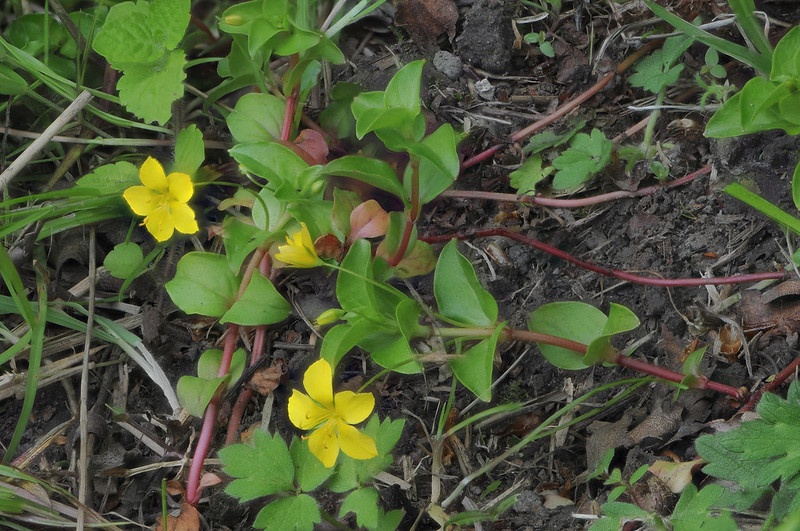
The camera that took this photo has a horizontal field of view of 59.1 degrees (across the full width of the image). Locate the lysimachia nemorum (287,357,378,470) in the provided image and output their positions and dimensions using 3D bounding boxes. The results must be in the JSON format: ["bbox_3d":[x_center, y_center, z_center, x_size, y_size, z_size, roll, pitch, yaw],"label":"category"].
[{"bbox_3d":[-0.243,0.498,2.473,0.332,0.135,0.338,24,111,17],"label":"lysimachia nemorum"}]
